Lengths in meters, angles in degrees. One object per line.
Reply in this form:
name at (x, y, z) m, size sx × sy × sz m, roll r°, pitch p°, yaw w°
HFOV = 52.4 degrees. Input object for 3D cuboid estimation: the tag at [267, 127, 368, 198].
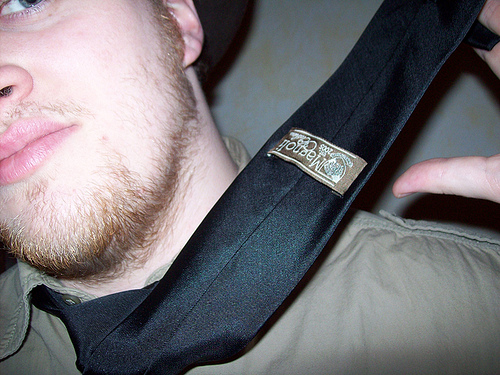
tag at (0.158, -0.048, 0.926) m, size 0.195 × 0.051 × 0.105 m, roll 37°, pitch 90°, yaw 14°
